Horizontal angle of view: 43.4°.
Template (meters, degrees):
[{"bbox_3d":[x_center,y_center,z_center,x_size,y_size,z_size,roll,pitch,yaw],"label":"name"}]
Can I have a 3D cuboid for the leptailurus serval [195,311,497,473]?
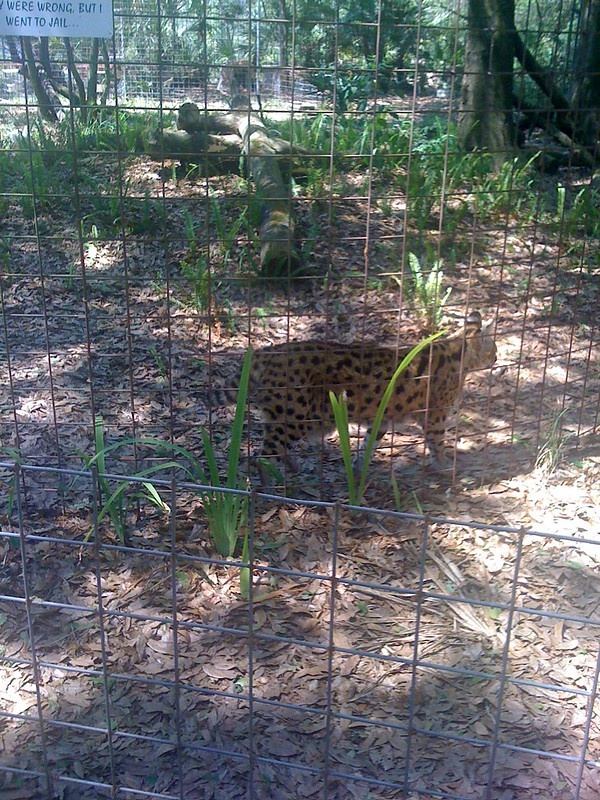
[{"bbox_3d":[0.337,0.009,4.272,1.975,0.878,0.388,-3,-4,-26],"label":"leptailurus serval"}]
